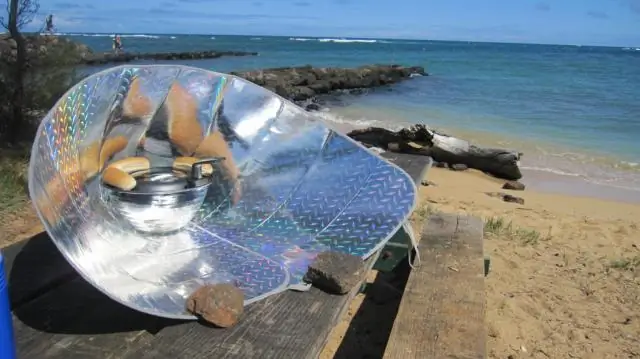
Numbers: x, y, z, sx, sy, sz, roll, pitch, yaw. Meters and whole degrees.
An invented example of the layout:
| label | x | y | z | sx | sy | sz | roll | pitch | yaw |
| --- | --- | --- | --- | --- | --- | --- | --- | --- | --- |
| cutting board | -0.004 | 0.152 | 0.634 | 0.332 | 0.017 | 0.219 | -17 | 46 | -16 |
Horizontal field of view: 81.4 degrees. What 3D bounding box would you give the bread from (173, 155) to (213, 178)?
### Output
| label | x | y | z | sx | sy | sz | roll | pitch | yaw |
| --- | --- | --- | --- | --- | --- | --- | --- | --- | --- |
| bread | -1.084 | -0.133 | 3.140 | 0.300 | 0.074 | 0.158 | 16 | 31 | 10 |
